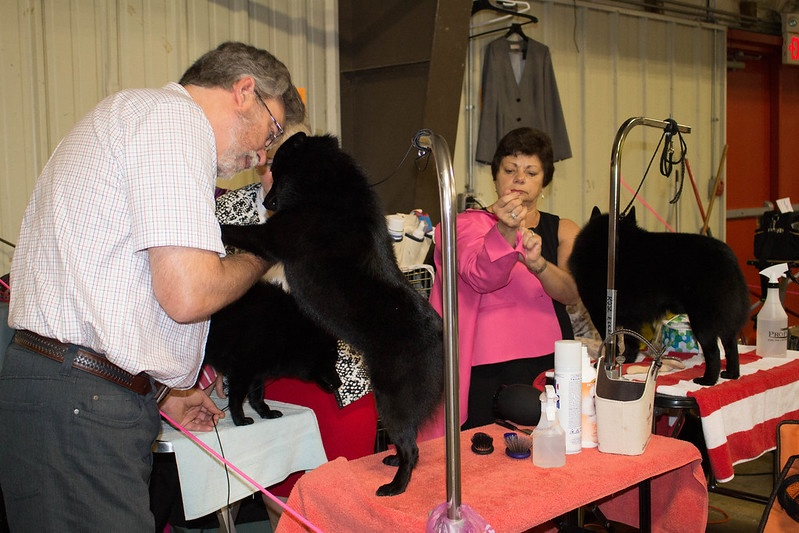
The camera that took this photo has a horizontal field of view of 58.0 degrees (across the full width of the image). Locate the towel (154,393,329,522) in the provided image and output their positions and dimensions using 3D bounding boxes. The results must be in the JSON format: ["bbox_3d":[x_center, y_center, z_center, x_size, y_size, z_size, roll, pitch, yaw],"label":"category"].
[{"bbox_3d":[-0.697,0.853,3.192,0.524,0.233,0.531,-7,7,-37],"label":"towel"}]

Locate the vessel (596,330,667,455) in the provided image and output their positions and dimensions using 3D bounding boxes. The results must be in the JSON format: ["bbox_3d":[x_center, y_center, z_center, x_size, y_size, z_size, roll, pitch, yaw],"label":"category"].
[{"bbox_3d":[1.003,0.533,3.135,0.303,0.474,0.430,-2,-2,34],"label":"vessel"}]

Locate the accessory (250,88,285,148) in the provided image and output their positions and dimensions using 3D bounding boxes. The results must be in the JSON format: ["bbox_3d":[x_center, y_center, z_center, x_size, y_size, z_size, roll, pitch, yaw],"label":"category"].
[{"bbox_3d":[-0.526,-0.612,2.960,0.047,0.177,0.162,-17,-13,-2],"label":"accessory"}]

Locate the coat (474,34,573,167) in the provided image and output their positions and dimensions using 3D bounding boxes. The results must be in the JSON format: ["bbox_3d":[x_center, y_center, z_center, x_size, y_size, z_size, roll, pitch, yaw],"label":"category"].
[{"bbox_3d":[1.113,-1.521,6.503,0.849,1.147,0.111,4,35,19],"label":"coat"}]

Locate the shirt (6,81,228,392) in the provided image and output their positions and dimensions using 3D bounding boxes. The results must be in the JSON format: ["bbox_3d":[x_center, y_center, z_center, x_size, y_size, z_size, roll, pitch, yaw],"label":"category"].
[{"bbox_3d":[-1.095,-0.082,2.754,0.821,1.182,0.382,-3,4,-12],"label":"shirt"}]

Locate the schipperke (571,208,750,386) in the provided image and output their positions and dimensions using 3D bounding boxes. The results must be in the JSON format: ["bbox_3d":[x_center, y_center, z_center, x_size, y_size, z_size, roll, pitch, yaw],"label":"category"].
[{"bbox_3d":[1.314,0.145,3.639,0.877,0.906,0.333,-3,4,-7],"label":"schipperke"}]
